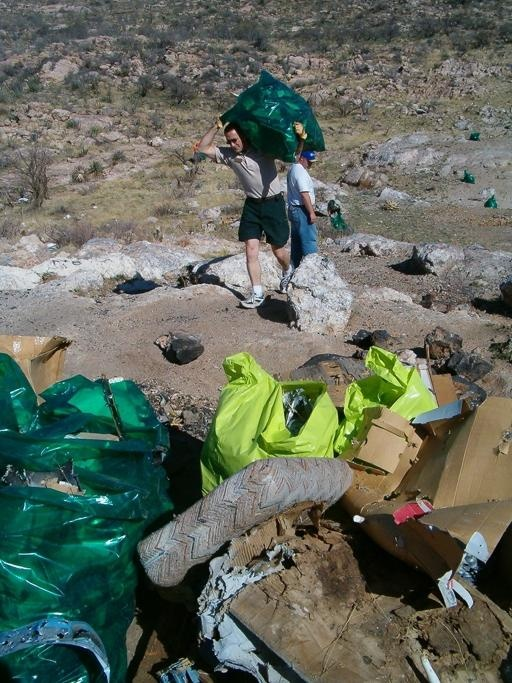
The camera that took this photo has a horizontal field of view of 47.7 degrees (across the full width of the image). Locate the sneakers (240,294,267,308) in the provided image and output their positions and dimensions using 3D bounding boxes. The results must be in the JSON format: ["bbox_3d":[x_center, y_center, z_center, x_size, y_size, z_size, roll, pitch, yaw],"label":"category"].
[{"bbox_3d":[-0.039,-0.359,5.213,0.248,0.106,0.088,-8,59,-8],"label":"sneakers"}]

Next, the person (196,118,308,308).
[{"bbox_3d":[-0.017,-1.040,4.979,0.606,1.583,0.816,10,23,30],"label":"person"}]

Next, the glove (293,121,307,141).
[{"bbox_3d":[0.338,-1.615,4.478,0.076,0.135,0.186,3,19,14],"label":"glove"}]

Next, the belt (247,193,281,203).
[{"bbox_3d":[0.059,-1.187,4.827,0.250,0.072,0.094,-3,19,-6],"label":"belt"}]

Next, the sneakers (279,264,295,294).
[{"bbox_3d":[0.283,-0.579,5.473,0.109,0.293,0.136,21,20,33],"label":"sneakers"}]
